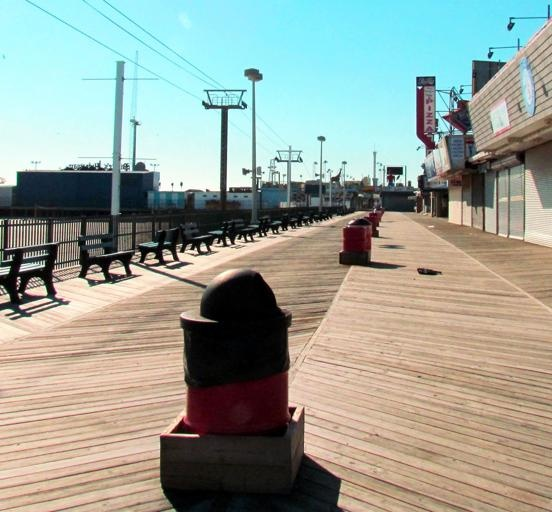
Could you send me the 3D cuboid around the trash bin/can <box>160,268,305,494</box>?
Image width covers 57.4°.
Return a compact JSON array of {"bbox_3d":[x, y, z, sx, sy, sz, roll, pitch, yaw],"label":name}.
[{"bbox_3d":[-0.284,0.737,3.084,0.839,1.314,0.354,0,5,6],"label":"trash bin/can"}]
